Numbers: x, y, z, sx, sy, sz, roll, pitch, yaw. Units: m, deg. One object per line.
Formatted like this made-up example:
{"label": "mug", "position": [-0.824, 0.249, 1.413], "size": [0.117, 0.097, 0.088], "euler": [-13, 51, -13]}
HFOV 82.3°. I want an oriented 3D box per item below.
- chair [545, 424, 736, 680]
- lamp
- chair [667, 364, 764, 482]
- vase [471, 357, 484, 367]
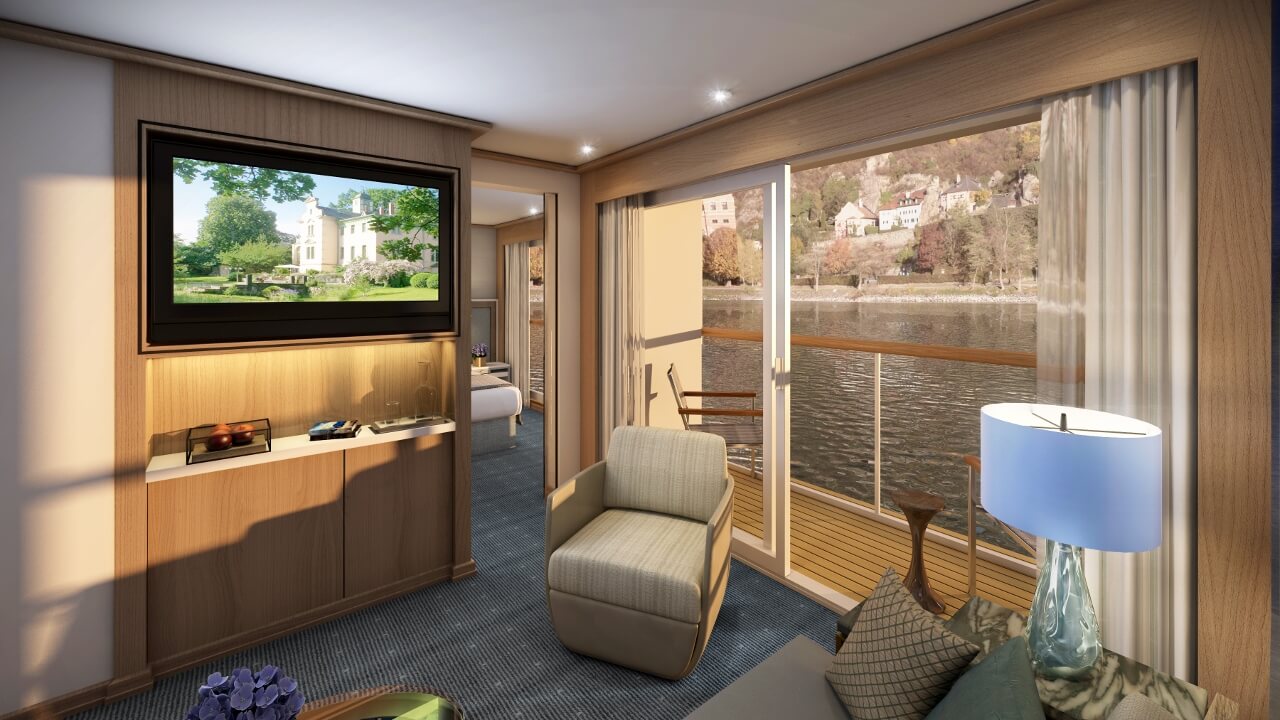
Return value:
{"label": "chair", "position": [0.070, 1.279, 5.599], "size": [1.479, 1.518, 1.611], "euler": [1, 0, 22]}
{"label": "lamp", "position": [2.363, 0.994, 4.119], "size": [0.873, 1.405, 0.478], "euler": [2, 9, 23]}
{"label": "chair", "position": [0.815, 0.614, 7.405], "size": [1.216, 1.465, 0.986], "euler": [-1, 5, 3]}
{"label": "vase", "position": [-2.217, 0.042, 10.055], "size": [0.143, 0.094, 0.138], "euler": [0, 2, -30]}
